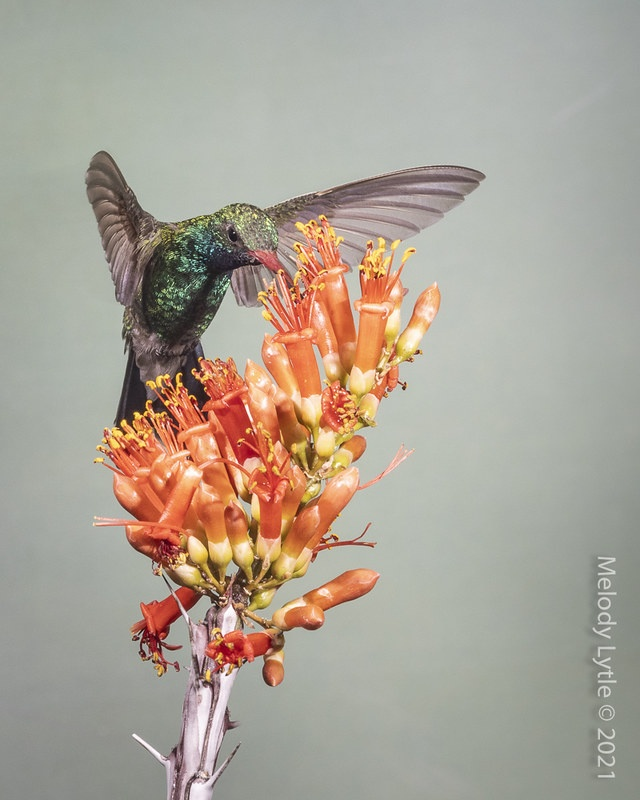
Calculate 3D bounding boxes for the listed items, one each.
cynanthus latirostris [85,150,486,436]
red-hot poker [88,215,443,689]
[{"bbox_3d":[-0.056,-0.239,2.427,0.693,0.524,0.617,-6,6,-19],"label":"cynanthus latirostris"},{"bbox_3d":[-0.141,0.080,1.867,0.503,0.747,0.402,-7,5,-43],"label":"red-hot poker"}]
